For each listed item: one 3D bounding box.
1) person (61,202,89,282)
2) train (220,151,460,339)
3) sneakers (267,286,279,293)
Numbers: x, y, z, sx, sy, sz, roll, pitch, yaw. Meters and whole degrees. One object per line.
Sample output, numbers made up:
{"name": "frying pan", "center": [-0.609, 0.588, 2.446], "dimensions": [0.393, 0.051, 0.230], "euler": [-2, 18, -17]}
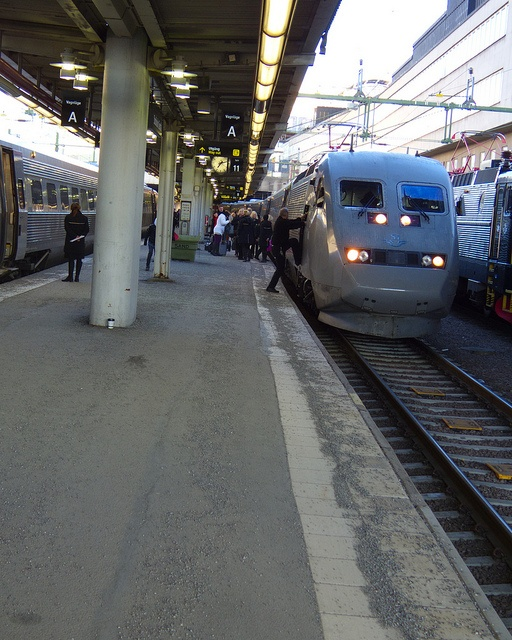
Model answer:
{"name": "person", "center": [-4.927, -2.127, 11.000], "dimensions": [0.559, 2.211, 0.942], "euler": [5, 3, -28]}
{"name": "train", "center": [2.371, -1.767, 8.307], "dimensions": [3.313, 3.720, 2.138], "euler": [9, 3, 29]}
{"name": "sneakers", "center": [0.498, -0.942, 12.544], "dimensions": [0.420, 0.210, 0.153], "euler": [8, 11, -19]}
